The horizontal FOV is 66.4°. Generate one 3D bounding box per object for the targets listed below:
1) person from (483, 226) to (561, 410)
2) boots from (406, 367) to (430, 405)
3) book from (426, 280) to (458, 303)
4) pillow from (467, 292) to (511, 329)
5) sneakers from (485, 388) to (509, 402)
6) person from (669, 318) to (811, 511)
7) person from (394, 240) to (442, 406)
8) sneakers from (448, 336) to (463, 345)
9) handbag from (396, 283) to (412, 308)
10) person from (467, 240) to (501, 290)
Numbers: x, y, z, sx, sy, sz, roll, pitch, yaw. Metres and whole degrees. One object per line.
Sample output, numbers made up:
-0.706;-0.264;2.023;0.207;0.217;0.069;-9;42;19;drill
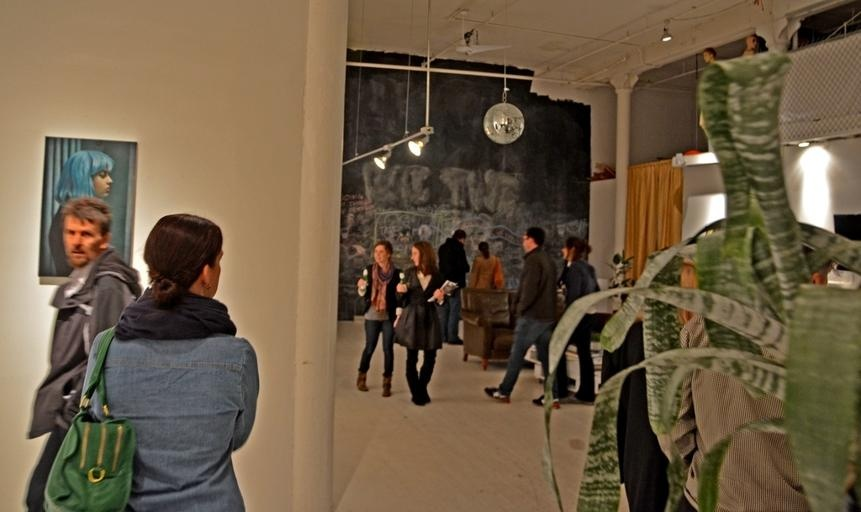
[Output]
1.036;0.632;6.979;0.619;1.855;0.365;0;5;-7;person
-0.140;1.353;7.090;0.256;0.380;0.459;0;5;-2;boots
0.120;0.397;7.141;0.269;0.100;0.210;-24;15;36;book
0.825;0.753;9.149;0.520;0.410;0.522;2;-7;-2;pillow
0.721;1.511;7.131;0.102;0.117;0.276;2;10;-26;sneakers
1.112;0.617;2.397;0.433;0.756;0.787;2;5;21;person
-0.110;0.709;7.180;0.548;1.672;0.654;3;6;31;person
0.426;1.364;10.788;0.093;0.166;0.285;5;9;35;sneakers
-0.315;0.424;7.164;0.198;0.257;0.090;-3;12;-40;handbag
0.910;0.197;10.971;0.583;0.969;0.345;-3;33;1;person
